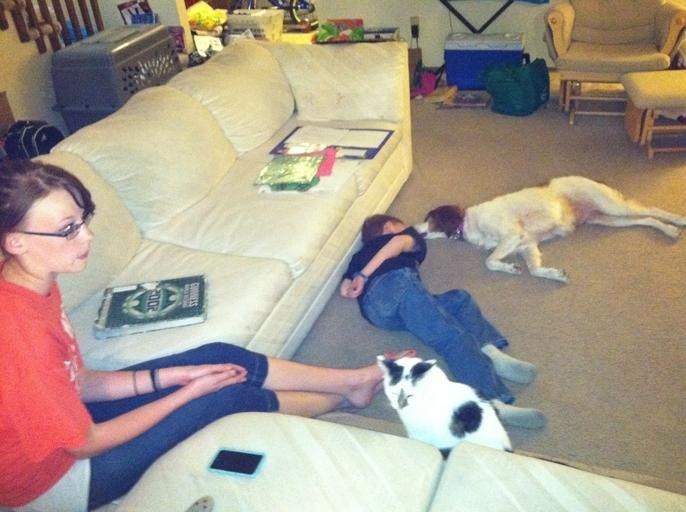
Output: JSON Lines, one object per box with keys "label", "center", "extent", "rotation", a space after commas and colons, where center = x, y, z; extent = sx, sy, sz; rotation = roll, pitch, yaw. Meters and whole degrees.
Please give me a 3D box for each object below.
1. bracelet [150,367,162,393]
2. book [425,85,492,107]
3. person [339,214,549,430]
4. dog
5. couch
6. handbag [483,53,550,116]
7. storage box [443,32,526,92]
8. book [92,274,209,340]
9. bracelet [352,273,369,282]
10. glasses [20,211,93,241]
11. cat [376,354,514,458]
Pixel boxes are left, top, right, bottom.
{"label": "bracelet", "center": [-0.643, 0.431, 1.805], "extent": [0.016, 0.059, 0.060], "rotation": [-11, 46, -22]}
{"label": "book", "center": [1.005, -1.376, 4.631], "extent": [0.379, 0.082, 0.350], "rotation": [7, 41, 20]}
{"label": "person", "center": [0.448, 0.308, 2.369], "extent": [0.364, 0.247, 0.955], "rotation": [9, 23, -37]}
{"label": "dog", "center": [1.155, -0.128, 2.854], "extent": [1.211, 0.259, 0.457], "rotation": [-10, 52, 1]}
{"label": "couch", "center": [-0.016, 0.034, 2.349], "extent": [1.045, 0.962, 2.450], "rotation": [10, 50, 22]}
{"label": "handbag", "center": [1.409, -1.403, 4.409], "extent": [0.513, 0.354, 0.548], "rotation": [-11, -14, 20]}
{"label": "storage box", "center": [1.407, -1.771, 4.687], "extent": [0.468, 0.501, 0.814], "rotation": [-33, 33, -28]}
{"label": "book", "center": [-0.767, 0.189, 2.133], "extent": [0.356, 0.062, 0.233], "rotation": [-5, 38, -7]}
{"label": "bracelet", "center": [0.093, 0.095, 2.519], "extent": [0.041, 0.019, 0.047], "rotation": [21, 13, -31]}
{"label": "glasses", "center": [-0.871, -0.100, 1.598], "extent": [0.110, 0.025, 0.098], "rotation": [12, 32, 4]}
{"label": "cat", "center": [0.413, 0.585, 2.084], "extent": [0.467, 0.258, 0.229], "rotation": [26, 76, 40]}
